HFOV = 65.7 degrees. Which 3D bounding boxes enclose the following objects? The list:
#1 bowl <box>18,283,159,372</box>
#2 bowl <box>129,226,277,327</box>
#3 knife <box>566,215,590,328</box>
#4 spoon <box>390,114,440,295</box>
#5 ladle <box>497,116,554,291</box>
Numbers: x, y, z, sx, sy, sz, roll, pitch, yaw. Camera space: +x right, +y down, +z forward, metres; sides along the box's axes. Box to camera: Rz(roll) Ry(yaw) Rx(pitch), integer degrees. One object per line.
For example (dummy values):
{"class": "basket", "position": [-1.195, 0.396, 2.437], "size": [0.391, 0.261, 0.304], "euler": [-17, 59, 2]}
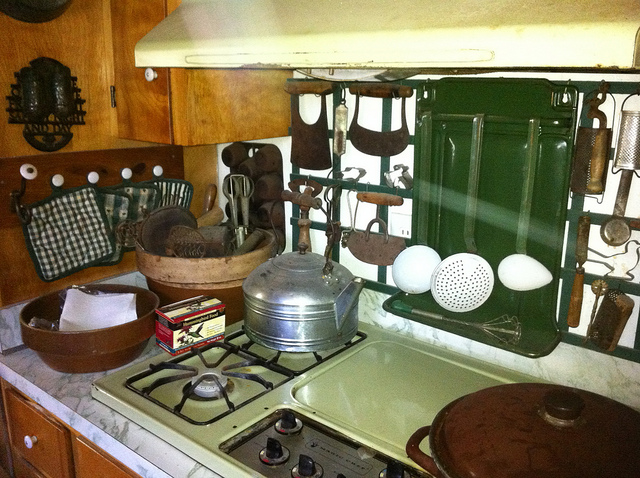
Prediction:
{"class": "bowl", "position": [-0.668, 0.243, 1.453], "size": [0.302, 0.120, 0.305], "euler": [3, 17, -1]}
{"class": "bowl", "position": [-0.377, 0.109, 1.545], "size": [0.344, 0.174, 0.327], "euler": [-3, 8, 0]}
{"class": "knife", "position": [0.658, 0.082, 1.261], "size": [0.034, 0.280, 0.031], "euler": [3, -2, -6]}
{"class": "spoon", "position": [0.289, -0.076, 1.387], "size": [0.138, 0.511, 0.214], "euler": [8, 22, 26]}
{"class": "ladle", "position": [0.541, -0.079, 1.259], "size": [0.148, 0.427, 0.094], "euler": [18, 28, 32]}
